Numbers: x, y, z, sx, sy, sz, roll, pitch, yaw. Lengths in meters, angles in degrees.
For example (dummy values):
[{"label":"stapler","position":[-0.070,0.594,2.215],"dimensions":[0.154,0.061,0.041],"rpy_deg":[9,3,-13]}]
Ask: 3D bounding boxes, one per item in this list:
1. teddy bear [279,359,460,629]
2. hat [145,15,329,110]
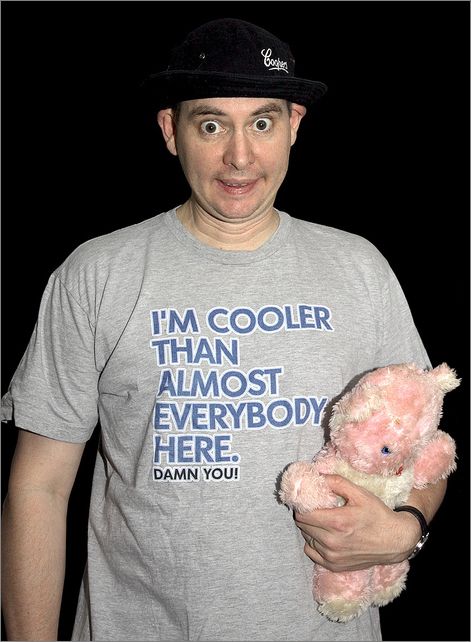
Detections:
[{"label":"teddy bear","position":[0.287,0.375,1.472],"dimensions":[0.515,0.571,0.258],"rpy_deg":[-5,16,-39]},{"label":"hat","position":[-0.009,-0.646,1.612],"dimensions":[0.516,0.180,0.426],"rpy_deg":[0,21,-6]}]
